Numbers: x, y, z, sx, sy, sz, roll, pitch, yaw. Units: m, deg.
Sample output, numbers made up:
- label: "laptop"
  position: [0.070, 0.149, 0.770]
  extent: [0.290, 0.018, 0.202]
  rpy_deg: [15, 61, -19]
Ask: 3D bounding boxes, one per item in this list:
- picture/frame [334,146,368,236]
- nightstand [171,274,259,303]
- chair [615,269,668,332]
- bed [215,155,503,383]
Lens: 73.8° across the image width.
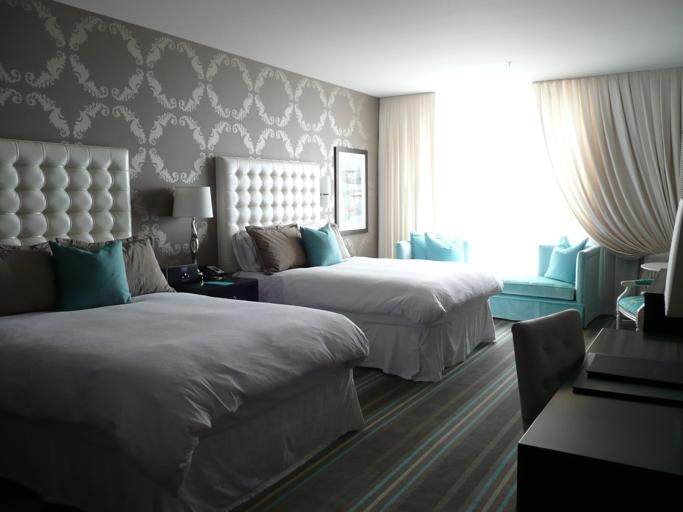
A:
- label: "picture/frame"
  position: [0.107, -1.010, 6.812]
  extent: [0.055, 1.532, 1.218]
  rpy_deg: [6, 10, 29]
- label: "nightstand"
  position: [-1.182, 0.302, 4.381]
  extent: [0.355, 0.259, 0.388]
  rpy_deg: [3, 6, 27]
- label: "chair"
  position: [3.062, 0.456, 4.601]
  extent: [0.402, 0.680, 0.434]
  rpy_deg: [-9, 10, -3]
- label: "bed"
  position: [0.136, -0.087, 5.166]
  extent: [2.506, 2.125, 1.770]
  rpy_deg: [2, 8, 25]
